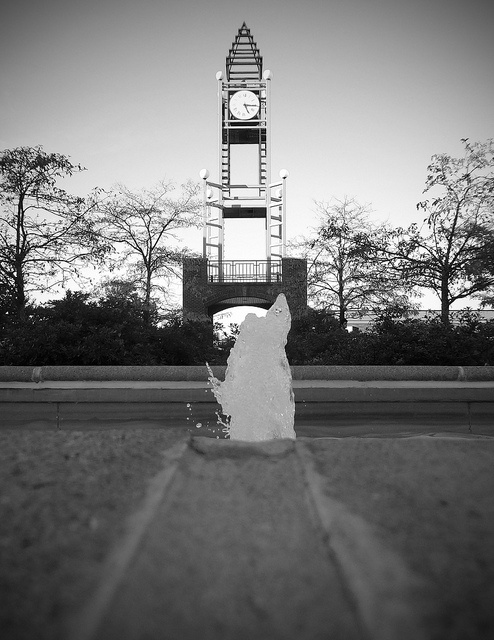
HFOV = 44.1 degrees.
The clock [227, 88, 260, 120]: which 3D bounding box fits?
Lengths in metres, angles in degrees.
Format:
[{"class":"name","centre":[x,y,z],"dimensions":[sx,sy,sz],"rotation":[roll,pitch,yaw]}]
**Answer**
[{"class":"clock","centre":[-0.122,-6.905,19.667],"dimensions":[0.918,1.056,0.102],"rotation":[3,-14,0]}]
